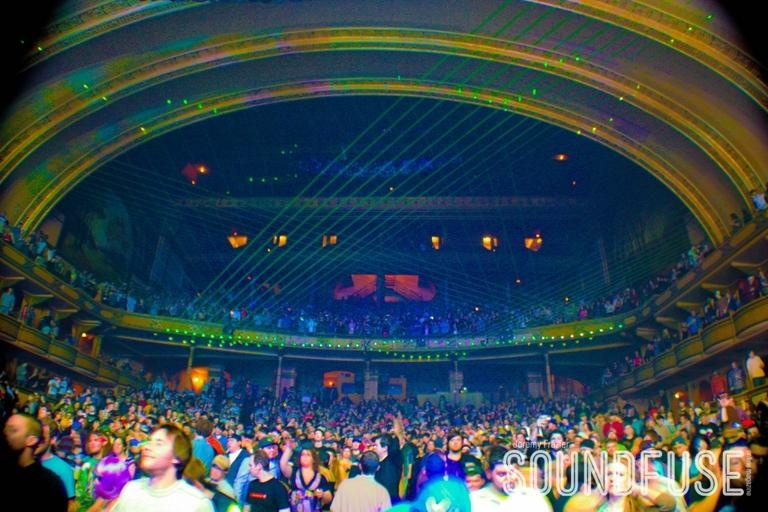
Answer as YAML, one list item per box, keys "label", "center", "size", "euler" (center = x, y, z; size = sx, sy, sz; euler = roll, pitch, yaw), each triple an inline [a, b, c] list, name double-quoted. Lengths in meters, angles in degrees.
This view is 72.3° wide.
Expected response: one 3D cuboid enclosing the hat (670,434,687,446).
- label: "hat"
  center: [8.586, 5.398, 15.306]
  size: [0.416, 0.361, 0.318]
  euler: [24, -37, 3]
